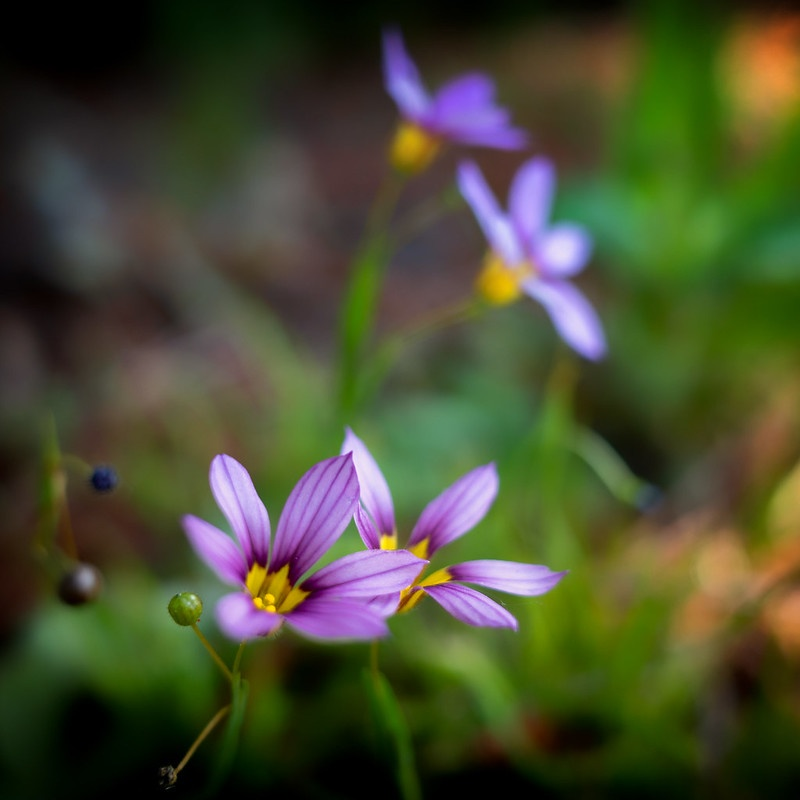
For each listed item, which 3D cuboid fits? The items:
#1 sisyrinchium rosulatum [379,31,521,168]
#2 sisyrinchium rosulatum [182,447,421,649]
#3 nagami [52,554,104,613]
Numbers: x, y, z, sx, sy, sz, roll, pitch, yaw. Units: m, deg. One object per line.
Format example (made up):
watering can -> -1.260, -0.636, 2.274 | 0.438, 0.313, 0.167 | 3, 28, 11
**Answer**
sisyrinchium rosulatum -> 0.039, -0.228, 0.630 | 0.097, 0.106, 0.138 | -5, 8, 15
sisyrinchium rosulatum -> -0.053, 0.092, 0.450 | 0.108, 0.101, 0.048 | 20, -35, -20
nagami -> -0.198, 0.114, 0.522 | 0.030, 0.025, 0.023 | -3, 8, 32
